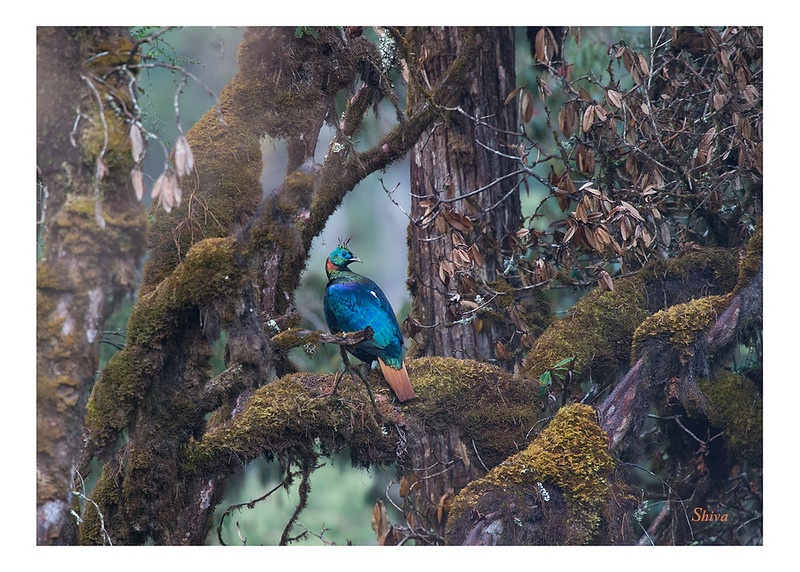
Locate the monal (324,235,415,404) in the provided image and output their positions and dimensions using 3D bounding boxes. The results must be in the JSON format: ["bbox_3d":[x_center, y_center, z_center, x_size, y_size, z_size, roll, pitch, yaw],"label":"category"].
[{"bbox_3d":[-0.259,0.345,14.704,0.446,1.027,1.072,-22,-45,-13],"label":"monal"}]
